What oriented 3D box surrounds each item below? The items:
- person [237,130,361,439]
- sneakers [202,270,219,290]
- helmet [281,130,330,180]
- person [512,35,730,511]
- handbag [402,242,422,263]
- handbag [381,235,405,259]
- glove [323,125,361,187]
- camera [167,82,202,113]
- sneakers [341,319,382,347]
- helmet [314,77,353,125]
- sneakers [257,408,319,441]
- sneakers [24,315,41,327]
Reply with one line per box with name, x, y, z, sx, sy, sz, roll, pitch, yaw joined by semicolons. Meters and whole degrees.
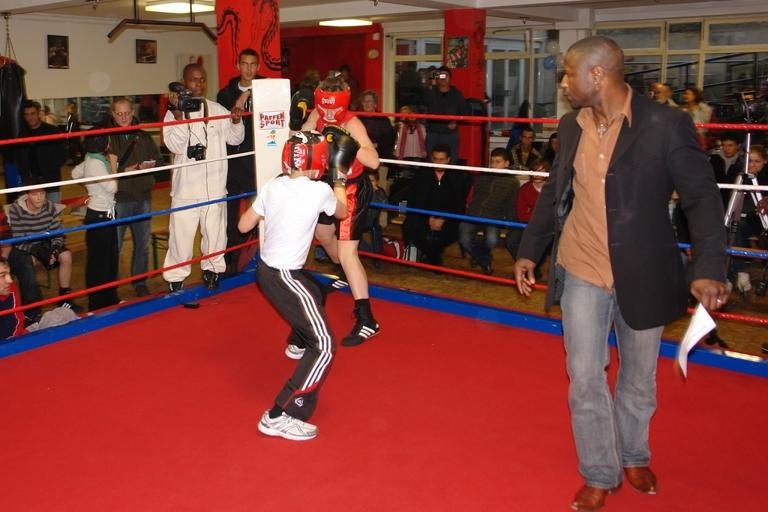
person;-0.423;0.130;2.692;0.523;1.425;0.551;-3;18;-10
sneakers;-1.275;0.175;4.072;0.101;0.142;0.151;-1;-5;3
helmet;-0.346;-0.458;2.552;0.198;0.209;0.238;10;14;16
person;0.971;0.073;2.297;0.556;1.866;0.749;-7;20;-22
handbag;0.296;-0.034;5.888;0.267;0.319;0.176;0;2;7
handbag;0.135;-0.088;6.142;0.263;0.229;0.181;-3;3;21
glove;-0.257;-0.528;2.926;0.138;0.277;0.231;30;24;32
camera;-1.427;-1.133;4.031;0.241;0.208;0.142;3;-15;-31
sneakers;-0.143;0.459;3.446;0.267;0.105;0.119;-24;23;-16
helmet;-0.314;-0.939;3.350;0.209;0.275;0.180;-2;18;-7
sneakers;-0.468;0.827;2.729;0.307;0.125;0.117;6;3;0
sneakers;-2.581;0.459;4.053;0.145;0.067;0.187;-3;4;-30
